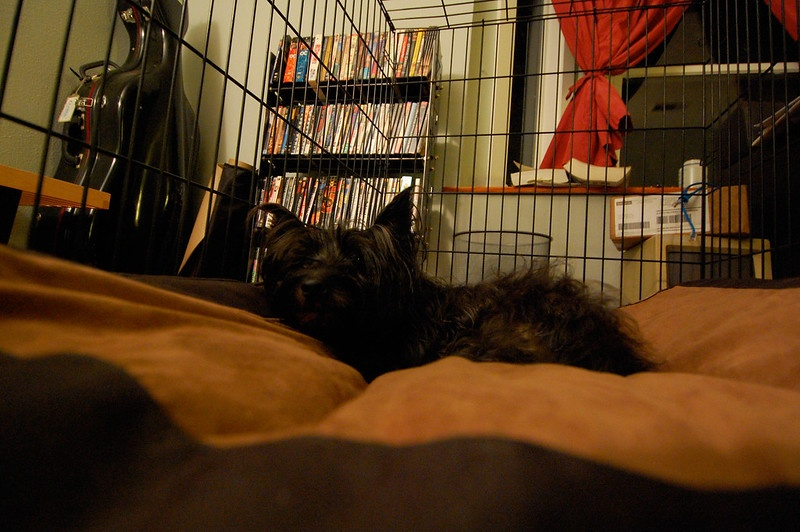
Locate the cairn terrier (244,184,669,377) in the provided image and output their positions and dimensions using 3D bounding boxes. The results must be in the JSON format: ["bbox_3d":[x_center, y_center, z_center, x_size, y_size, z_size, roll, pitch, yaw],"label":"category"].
[{"bbox_3d":[0.210,0.197,1.900,1.047,0.707,0.451,0,-5,1],"label":"cairn terrier"}]

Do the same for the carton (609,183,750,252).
[{"bbox_3d":[1.248,-0.226,2.826,0.632,0.246,0.243,1,-11,35],"label":"carton"}]
